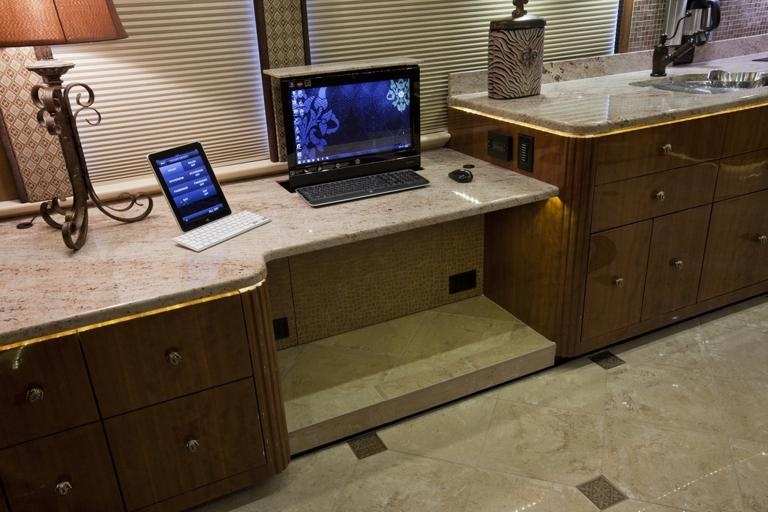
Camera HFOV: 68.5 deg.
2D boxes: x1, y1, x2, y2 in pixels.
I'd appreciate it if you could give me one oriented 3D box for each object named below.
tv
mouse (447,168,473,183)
[{"bbox_3d":[-0.202,-0.704,2.824,0.636,0.339,0.184,-11,29,-21],"label":"tv"},{"bbox_3d":[0.394,-0.419,2.895,0.078,0.038,0.118,-11,25,-23],"label":"mouse"}]
